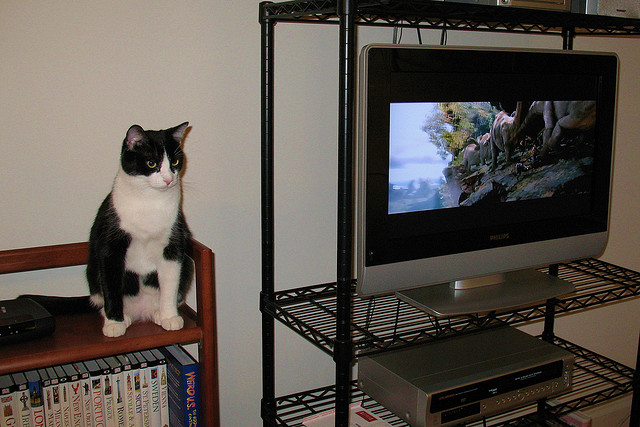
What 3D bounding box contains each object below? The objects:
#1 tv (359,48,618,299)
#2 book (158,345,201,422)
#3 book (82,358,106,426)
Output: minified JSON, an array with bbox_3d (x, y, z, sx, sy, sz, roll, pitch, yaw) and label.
[{"bbox_3d":[0.574,-0.178,1.896,1.048,0.717,0.104,-6,13,-24],"label":"tv"},{"bbox_3d":[-0.440,0.542,1.761,0.072,0.187,0.209,-8,32,-19],"label":"book"},{"bbox_3d":[-0.680,0.544,1.695,0.069,0.198,0.194,-6,-11,-21],"label":"book"}]
